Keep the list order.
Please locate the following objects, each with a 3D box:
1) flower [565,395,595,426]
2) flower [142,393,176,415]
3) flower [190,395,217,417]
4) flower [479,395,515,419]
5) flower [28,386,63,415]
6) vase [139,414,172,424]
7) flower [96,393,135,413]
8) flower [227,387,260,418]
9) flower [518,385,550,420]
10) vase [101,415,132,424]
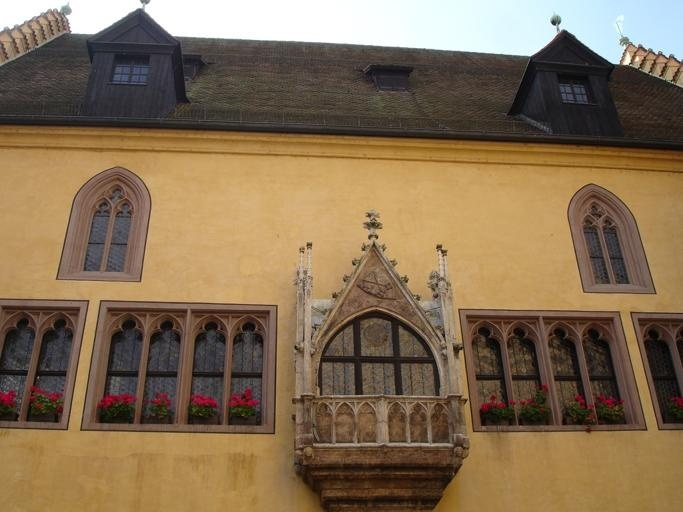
[{"bbox_3d":[4.885,3.177,14.839,0.539,0.410,0.593,2,-2,-1],"label":"flower"},{"bbox_3d":[-3.600,2.952,14.285,0.548,0.476,0.294,4,-24,-12],"label":"flower"},{"bbox_3d":[-2.718,2.994,14.204,0.484,0.352,0.448,7,-23,-10],"label":"flower"},{"bbox_3d":[3.160,3.137,14.751,0.579,0.421,0.544,1,-22,-1],"label":"flower"},{"bbox_3d":[-5.784,2.877,14.057,0.529,0.310,0.559,13,1,-40],"label":"flower"},{"bbox_3d":[-3.660,3.229,14.217,0.379,0.194,0.096,3,-10,-5],"label":"vase"},{"bbox_3d":[-4.435,2.904,14.183,0.499,0.281,0.377,11,-29,-12],"label":"flower"},{"bbox_3d":[-1.964,2.974,14.442,0.552,0.547,0.548,20,-26,-41],"label":"flower"},{"bbox_3d":[3.971,3.076,14.752,0.639,0.504,0.719,-4,-6,12],"label":"flower"},{"bbox_3d":[-4.451,3.253,14.249,0.357,0.183,0.079,-1,0,0],"label":"vase"}]
